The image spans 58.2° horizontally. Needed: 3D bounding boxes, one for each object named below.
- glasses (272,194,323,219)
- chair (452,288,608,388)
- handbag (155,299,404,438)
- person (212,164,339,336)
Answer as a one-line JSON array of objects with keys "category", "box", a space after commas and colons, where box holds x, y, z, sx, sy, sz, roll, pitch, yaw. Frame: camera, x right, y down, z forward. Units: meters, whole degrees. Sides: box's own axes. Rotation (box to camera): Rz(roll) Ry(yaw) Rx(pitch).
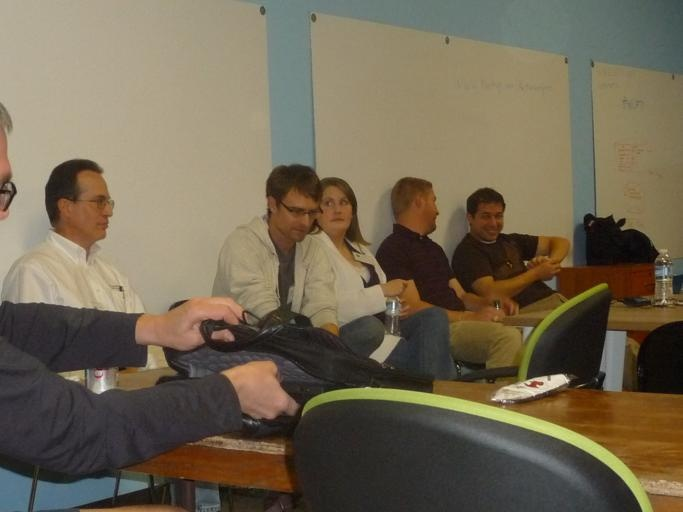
[{"category": "glasses", "box": [-0.231, -0.239, 3.039, 0.136, 0.043, 0.137, 22, 8, 39]}, {"category": "chair", "box": [0.572, 0.241, 1.803, 0.286, 0.371, 0.294, 2, 5, 40]}, {"category": "handbag", "box": [-0.174, 0.236, 1.429, 0.463, 0.189, 0.265, 4, 6, 14]}, {"category": "person", "box": [-0.269, 0.021, 2.994, 0.575, 0.907, 0.847, -3, 17, -26]}]
